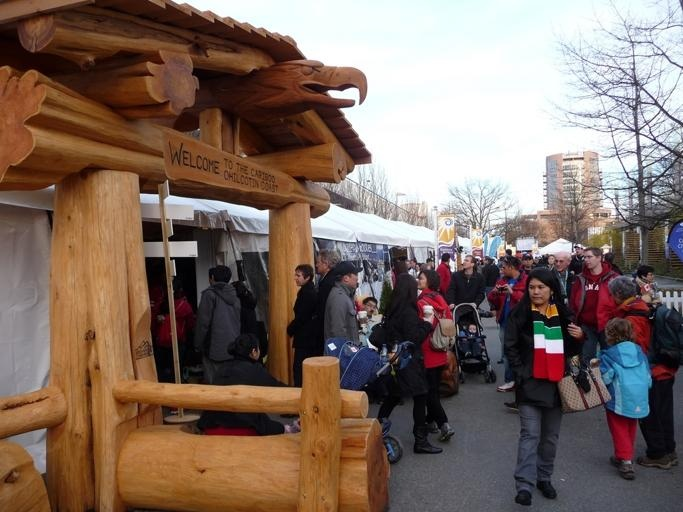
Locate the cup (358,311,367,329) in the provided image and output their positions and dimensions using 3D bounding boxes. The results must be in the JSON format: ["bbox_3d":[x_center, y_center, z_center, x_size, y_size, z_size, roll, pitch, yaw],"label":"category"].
[{"bbox_3d":[0.334,0.970,7.831,0.218,0.319,0.218,0,2,0],"label":"cup"}]

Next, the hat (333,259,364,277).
[{"bbox_3d":[0.135,0.174,7.299,0.419,0.231,0.300,-3,4,-17],"label":"hat"}]

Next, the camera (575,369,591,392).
[{"bbox_3d":[2.276,1.159,4.788,0.131,0.215,0.086,-3,-8,-20],"label":"camera"}]

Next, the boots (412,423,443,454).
[{"bbox_3d":[0.969,2.176,6.115,0.483,0.448,0.226,-2,0,4],"label":"boots"}]

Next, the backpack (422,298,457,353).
[{"bbox_3d":[1.231,0.887,6.175,0.289,0.504,0.470,-1,1,10],"label":"backpack"}]

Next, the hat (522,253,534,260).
[{"bbox_3d":[4.348,0.007,11.815,0.216,0.120,0.294,0,-2,12],"label":"hat"}]

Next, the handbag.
[{"bbox_3d":[2.332,1.204,4.858,0.557,0.488,0.194,-2,2,-33],"label":"handbag"}]

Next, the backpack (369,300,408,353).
[{"bbox_3d":[0.477,0.861,6.187,0.447,0.826,0.584,6,-10,-20],"label":"backpack"}]

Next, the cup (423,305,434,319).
[{"bbox_3d":[1.027,0.655,6.018,0.142,0.227,0.142,-2,11,0],"label":"cup"}]

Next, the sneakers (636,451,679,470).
[{"bbox_3d":[3.456,2.221,5.528,0.396,0.181,0.167,0,-1,32],"label":"sneakers"}]

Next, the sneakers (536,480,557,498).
[{"bbox_3d":[2.019,2.270,4.947,0.085,0.152,0.247,-6,-15,-9],"label":"sneakers"}]

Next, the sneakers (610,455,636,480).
[{"bbox_3d":[2.982,2.232,5.416,0.123,0.158,0.367,0,-7,4],"label":"sneakers"}]
